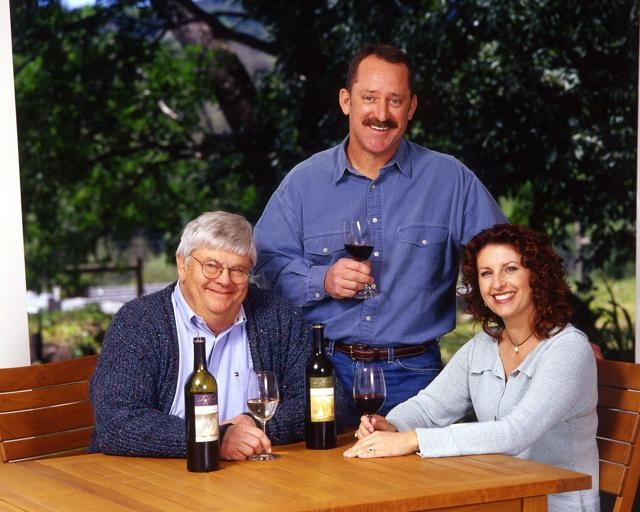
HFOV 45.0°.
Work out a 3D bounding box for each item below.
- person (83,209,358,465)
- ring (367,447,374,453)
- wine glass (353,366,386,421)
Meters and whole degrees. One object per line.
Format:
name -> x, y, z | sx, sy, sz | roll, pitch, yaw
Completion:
person -> -0.410, 0.386, 3.162 | 0.914, 1.094, 0.931 | 2, -7, -30
ring -> 0.173, 0.663, 2.633 | 0.018, 0.018, 0.011 | -1, -10, 8
wine glass -> 0.174, 0.482, 2.745 | 0.103, 0.198, 0.145 | -2, -1, 1
